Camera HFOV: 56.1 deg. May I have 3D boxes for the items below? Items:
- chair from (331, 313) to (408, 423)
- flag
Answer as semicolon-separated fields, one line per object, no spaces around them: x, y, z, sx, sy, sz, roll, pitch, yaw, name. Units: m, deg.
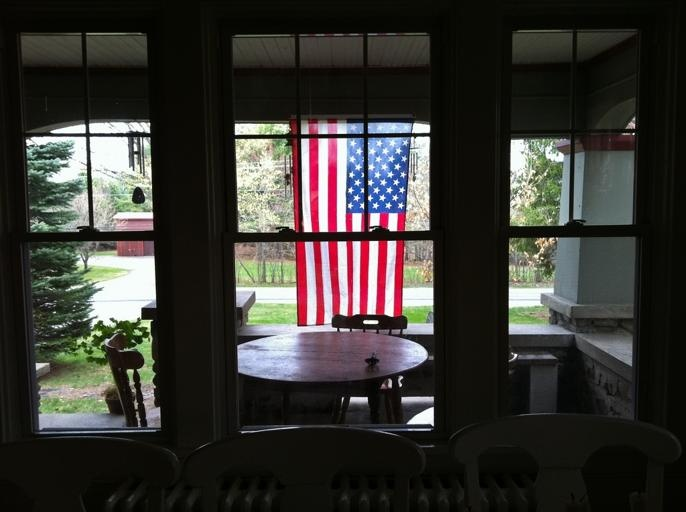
0.162;0.527;3.045;0.441;0.685;0.464;-1;-9;4;chair
0.055;-0.152;2.990;0.563;0.950;0.085;-2;5;1;flag
